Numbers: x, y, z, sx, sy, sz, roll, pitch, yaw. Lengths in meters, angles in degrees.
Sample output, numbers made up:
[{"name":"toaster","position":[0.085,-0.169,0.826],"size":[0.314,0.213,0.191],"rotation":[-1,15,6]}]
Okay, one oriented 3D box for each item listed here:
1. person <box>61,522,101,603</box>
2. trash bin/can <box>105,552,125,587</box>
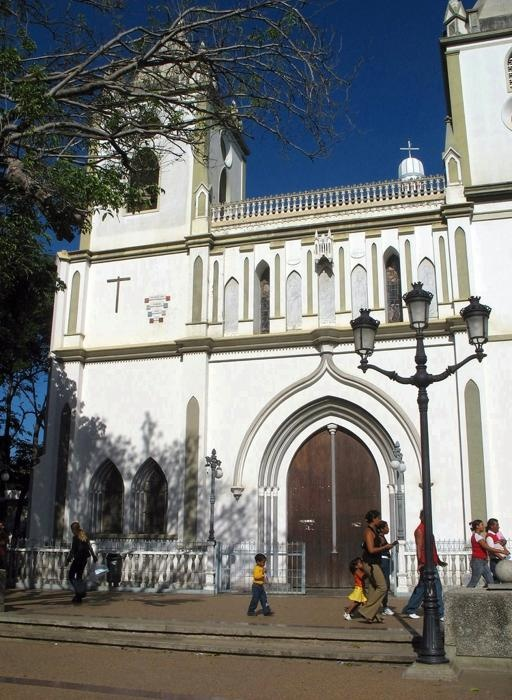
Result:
[{"name":"person","position":[-3.496,4.228,12.608],"size":[0.537,1.510,1.073],"rotation":[5,-18,-16]},{"name":"trash bin/can","position":[-3.468,5.377,15.389],"size":[0.335,0.823,0.686],"rotation":[7,-19,-23]}]
